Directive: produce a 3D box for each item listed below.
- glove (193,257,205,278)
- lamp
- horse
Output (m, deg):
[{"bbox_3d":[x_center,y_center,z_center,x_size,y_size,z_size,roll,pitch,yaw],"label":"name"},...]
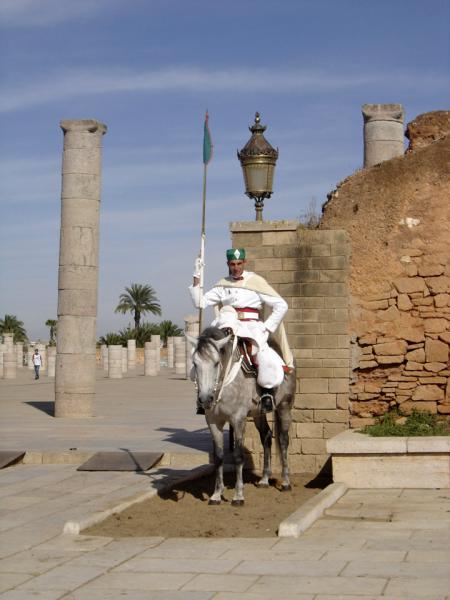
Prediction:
[{"bbox_3d":[-0.278,-0.329,11.958,0.072,0.267,0.211,0,-4,-23],"label":"glove"},{"bbox_3d":[0.451,-1.813,15.006,0.513,1.580,0.957,-1,-4,1],"label":"lamp"},{"bbox_3d":[0.212,1.238,11.923,0.577,1.712,2.208,-1,-7,26],"label":"horse"}]
